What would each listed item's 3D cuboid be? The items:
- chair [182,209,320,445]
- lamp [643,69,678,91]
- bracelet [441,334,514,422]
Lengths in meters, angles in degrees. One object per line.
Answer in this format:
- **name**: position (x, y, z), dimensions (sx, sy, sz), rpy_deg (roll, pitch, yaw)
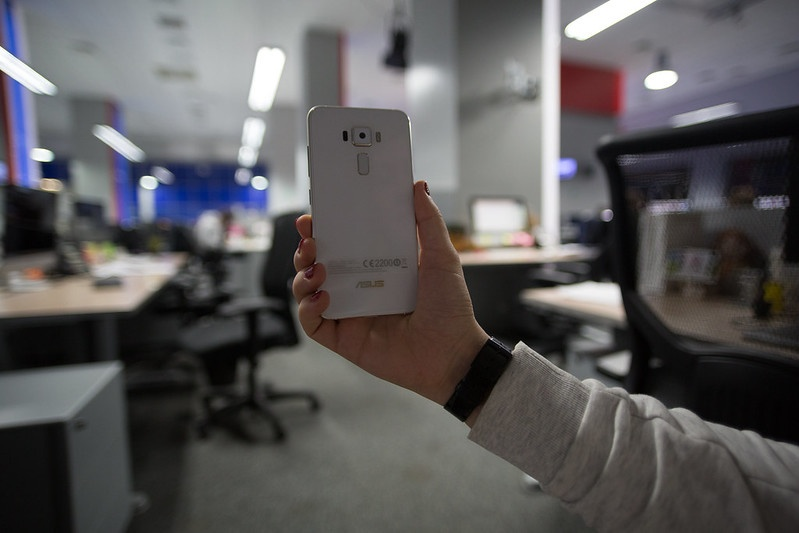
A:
- **chair**: position (-0.439, 0.145, 1.720), dimensions (0.306, 0.621, 1.132), rpy_deg (-4, 6, -11)
- **lamp**: position (0.666, -0.478, 1.399), dimensions (0.077, 0.056, 0.065), rpy_deg (0, 7, 26)
- **bracelet**: position (0.148, 0.239, 1.146), dimensions (0.114, 0.180, 0.168), rpy_deg (32, -14, 16)
